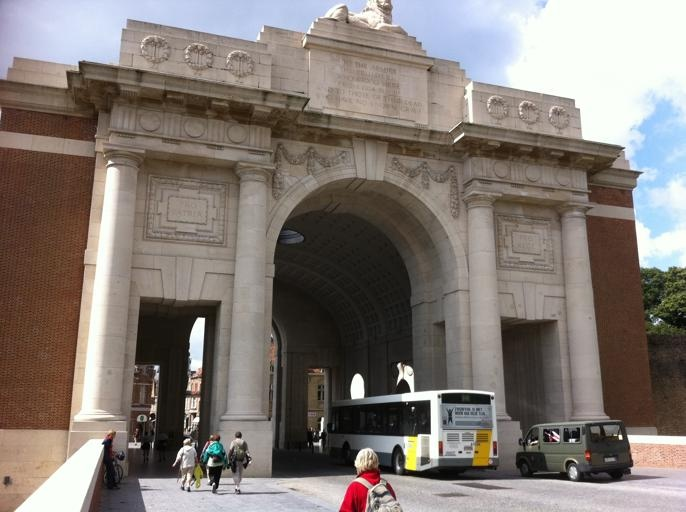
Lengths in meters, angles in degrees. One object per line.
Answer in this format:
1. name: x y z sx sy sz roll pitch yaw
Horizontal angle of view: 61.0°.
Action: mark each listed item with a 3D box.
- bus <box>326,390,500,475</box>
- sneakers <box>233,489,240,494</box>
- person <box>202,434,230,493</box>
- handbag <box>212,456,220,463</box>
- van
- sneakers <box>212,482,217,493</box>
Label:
1. bus: 2.690 8.372 27.849 3.178 3.085 10.493 10 -19 -25
2. sneakers: -3.412 7.588 18.881 0.123 0.187 0.270 -4 -6 36
3. person: -4.229 6.802 19.215 0.791 1.757 1.124 1 -15 -9
4. handbag: -4.072 6.563 18.809 0.212 0.229 0.069 4 -15 -18
5. van: 9.329 7.658 24.104 2.583 2.034 4.237 9 -17 -26
6. sneakers: -4.174 7.446 18.742 0.114 0.342 0.226 1 -7 -1
